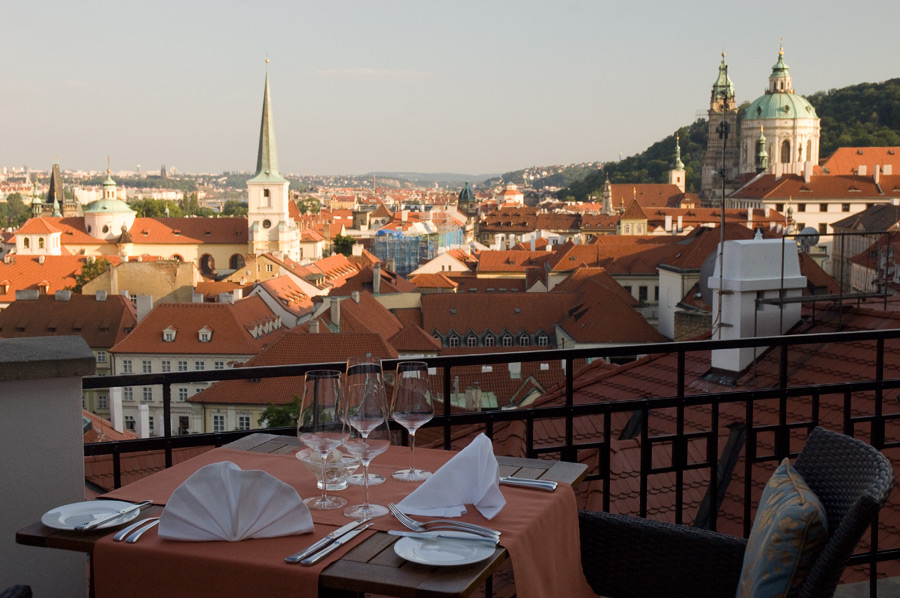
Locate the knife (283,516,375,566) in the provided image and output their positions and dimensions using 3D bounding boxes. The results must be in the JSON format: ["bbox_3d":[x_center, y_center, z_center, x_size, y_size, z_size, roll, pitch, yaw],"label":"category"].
[{"bbox_3d":[-0.423,0.846,3.979,0.095,0.018,0.351,8,12,22],"label":"knife"}]

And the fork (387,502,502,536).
[{"bbox_3d":[-0.034,0.812,4.144,0.382,0.060,0.062,4,17,14],"label":"fork"}]

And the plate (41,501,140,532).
[{"bbox_3d":[-1.329,0.795,4.158,0.312,0.173,0.157,4,-3,-25],"label":"plate"}]

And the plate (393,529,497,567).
[{"bbox_3d":[-0.021,0.879,3.944,0.351,0.093,0.141,0,-1,-2],"label":"plate"}]

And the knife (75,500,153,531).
[{"bbox_3d":[-1.244,0.799,4.147,0.033,0.030,0.285,12,12,14],"label":"knife"}]

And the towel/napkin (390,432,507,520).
[{"bbox_3d":[0.014,0.694,4.253,0.416,0.362,0.237,2,-3,7],"label":"towel/napkin"}]

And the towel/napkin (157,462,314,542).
[{"bbox_3d":[-0.774,0.730,4.079,0.548,0.272,0.110,0,-1,-5],"label":"towel/napkin"}]
